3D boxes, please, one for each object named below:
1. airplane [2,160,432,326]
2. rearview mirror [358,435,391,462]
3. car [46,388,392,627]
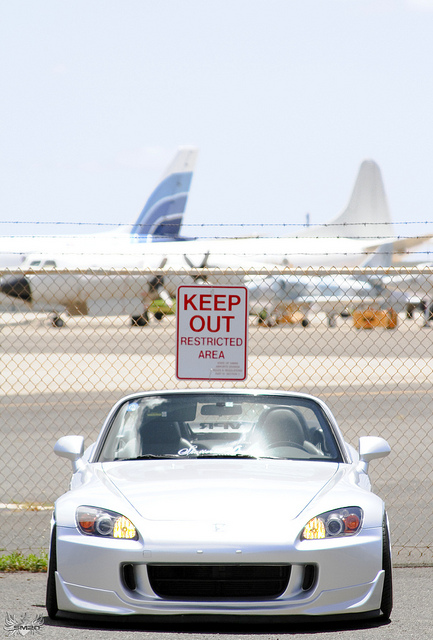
[{"bbox_3d":[1.338,-3.440,48.311,20.288,5.589,18.119,-1,1,-18],"label":"airplane"},{"bbox_3d":[0.891,0.757,4.484,0.156,0.153,0.152,3,26,-2],"label":"rearview mirror"},{"bbox_3d":[0.031,0.911,4.806,1.718,0.926,2.774,0,1,-4],"label":"car"}]
